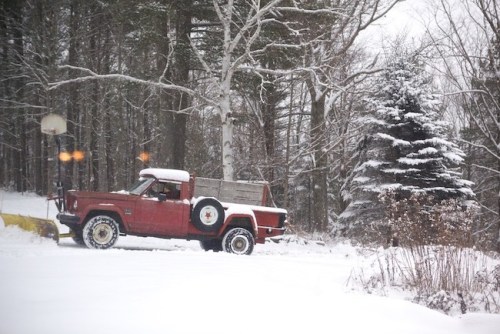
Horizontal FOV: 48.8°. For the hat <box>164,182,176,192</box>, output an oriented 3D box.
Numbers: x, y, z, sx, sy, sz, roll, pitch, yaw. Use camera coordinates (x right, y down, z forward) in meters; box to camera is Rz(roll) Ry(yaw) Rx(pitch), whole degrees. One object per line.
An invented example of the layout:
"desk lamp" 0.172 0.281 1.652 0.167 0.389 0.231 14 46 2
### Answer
"hat" -3.283 0.802 22.669 0.309 0.244 0.420 31 -6 -34
